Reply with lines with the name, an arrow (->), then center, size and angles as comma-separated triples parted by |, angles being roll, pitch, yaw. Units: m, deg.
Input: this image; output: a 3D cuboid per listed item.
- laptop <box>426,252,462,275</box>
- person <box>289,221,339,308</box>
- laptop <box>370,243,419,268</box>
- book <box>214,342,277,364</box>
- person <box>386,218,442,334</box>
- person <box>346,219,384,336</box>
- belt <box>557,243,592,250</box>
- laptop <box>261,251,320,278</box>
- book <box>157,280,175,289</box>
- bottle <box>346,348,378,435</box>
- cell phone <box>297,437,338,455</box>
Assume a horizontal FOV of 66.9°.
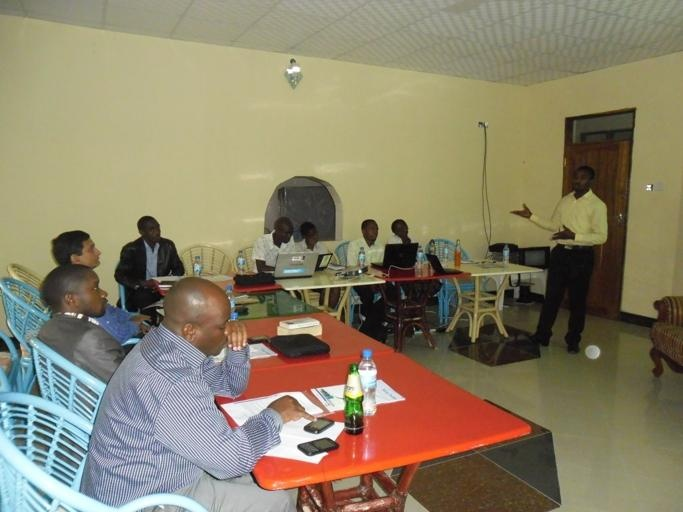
laptop -> 1.054, 0.081, 5.355 | 0.246, 0.160, 0.263 | -4, 5, -13
person -> -0.316, 0.088, 5.973 | 0.582, 1.061, 0.464 | 14, 21, 26
laptop -> 0.609, -0.016, 5.410 | 0.379, 0.263, 0.259 | -4, 22, -16
book -> -0.478, 0.481, 2.554 | 0.207, 0.008, 0.180 | -3, 7, -29
person -> 0.835, -0.021, 6.257 | 0.547, 0.841, 0.567 | -5, 12, 12
person -> 0.341, 0.198, 6.241 | 0.522, 1.309, 0.661 | -7, 16, -5
belt -> 2.441, -0.109, 5.440 | 0.305, 0.066, 0.078 | 5, 12, 20
laptop -> -0.448, 0.077, 4.976 | 0.388, 0.247, 0.266 | -4, 23, -28
book -> -1.433, 0.224, 4.199 | 0.125, 0.028, 0.114 | 1, 8, 2
bottle -> 0.084, 0.568, 2.256 | 0.132, 0.271, 0.328 | 4, 11, 12
cell phone -> -0.089, 0.741, 2.047 | 0.107, 0.018, 0.061 | -2, 9, -26
